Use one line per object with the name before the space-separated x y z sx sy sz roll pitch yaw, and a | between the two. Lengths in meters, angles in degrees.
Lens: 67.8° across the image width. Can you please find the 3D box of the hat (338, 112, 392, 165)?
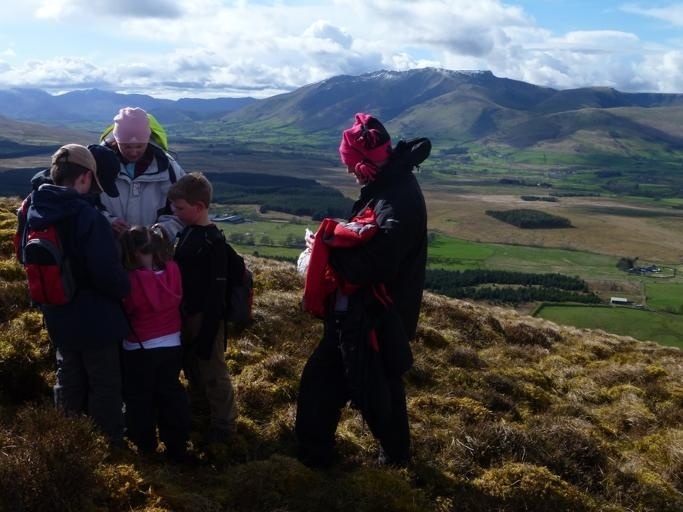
hat | 0.259 -1.456 6.238 0.709 0.617 0.503 -24 35 -33

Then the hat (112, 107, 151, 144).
hat | -2.740 -1.757 6.692 0.525 0.449 0.515 -12 20 -43
